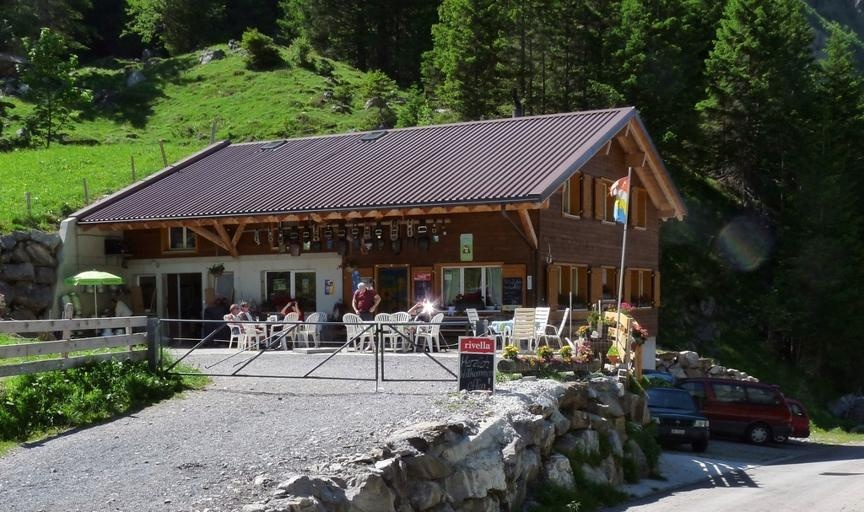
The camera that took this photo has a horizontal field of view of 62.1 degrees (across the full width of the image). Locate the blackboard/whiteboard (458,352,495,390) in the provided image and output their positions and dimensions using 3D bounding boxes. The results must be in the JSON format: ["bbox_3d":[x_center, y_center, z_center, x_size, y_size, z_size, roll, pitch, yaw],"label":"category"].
[{"bbox_3d":[1.335,3.359,20.848,0.936,1.097,0.101,1,-4,6],"label":"blackboard/whiteboard"}]

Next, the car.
[{"bbox_3d":[13.593,6.903,33.177,6.268,2.807,3.094,7,-4,7],"label":"car"}]
